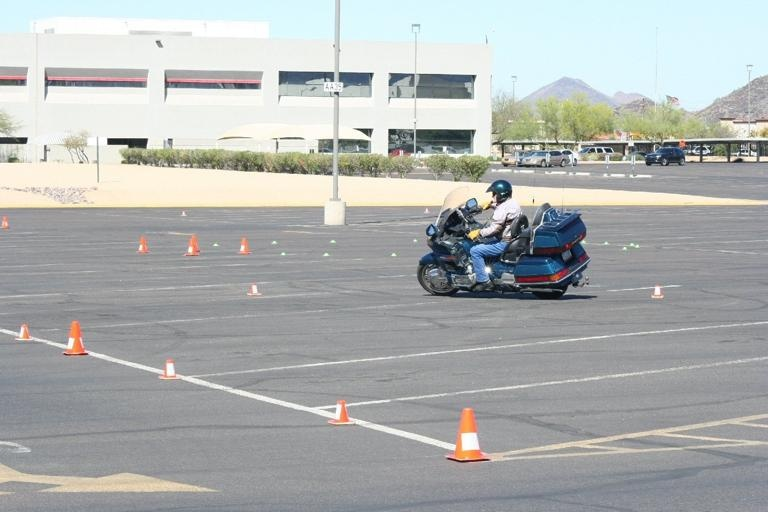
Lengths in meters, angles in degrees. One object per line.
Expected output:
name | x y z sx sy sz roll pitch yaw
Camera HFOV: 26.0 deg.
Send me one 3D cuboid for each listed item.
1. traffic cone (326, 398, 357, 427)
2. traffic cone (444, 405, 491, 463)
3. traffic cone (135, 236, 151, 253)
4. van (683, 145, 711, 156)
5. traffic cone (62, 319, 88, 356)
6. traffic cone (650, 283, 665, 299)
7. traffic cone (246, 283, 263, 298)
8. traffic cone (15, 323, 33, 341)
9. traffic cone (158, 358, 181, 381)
traffic cone | -1.001 3.571 38.028 0.614 0.563 0.586 -3 7 -19
traffic cone | 1.848 3.988 37.218 1.251 1.185 1.157 -2 3 -30
traffic cone | -7.813 -0.319 52.677 0.555 0.566 0.599 1 7 8
van | 30.463 -10.008 160.183 2.911 1.120 4.364 2 12 8
traffic cone | -7.666 2.041 41.087 0.599 0.798 1.148 0 1 -11
traffic cone | 7.514 1.022 45.367 0.363 0.352 0.355 4 9 29
traffic cone | -3.582 0.979 45.806 0.395 0.259 0.361 0 12 -12
traffic cone | -9.094 1.972 41.723 0.399 0.355 0.402 1 3 3
traffic cone | -5.101 2.732 39.577 0.499 0.444 0.466 2 5 21
